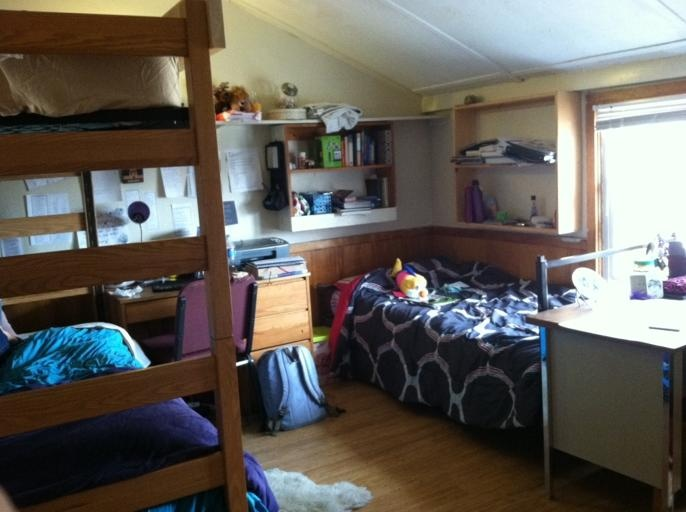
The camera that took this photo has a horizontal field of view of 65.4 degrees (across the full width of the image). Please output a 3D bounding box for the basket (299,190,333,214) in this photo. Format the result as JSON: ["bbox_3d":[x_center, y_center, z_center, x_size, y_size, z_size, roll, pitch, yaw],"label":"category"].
[{"bbox_3d":[-0.196,-0.416,4.260,0.282,0.165,0.178,-8,13,-15],"label":"basket"}]

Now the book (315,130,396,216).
[{"bbox_3d":[0.094,-0.675,4.359,0.696,0.663,0.224,-7,6,-34],"label":"book"}]

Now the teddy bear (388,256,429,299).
[{"bbox_3d":[0.511,0.193,4.131,0.191,0.194,0.420,-2,26,-26],"label":"teddy bear"}]

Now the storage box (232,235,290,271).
[{"bbox_3d":[-0.667,-0.039,3.954,0.331,0.167,0.241,-8,11,-32],"label":"storage box"}]

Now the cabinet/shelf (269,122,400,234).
[{"bbox_3d":[-0.102,-0.635,4.279,0.882,0.724,0.283,-7,8,-30],"label":"cabinet/shelf"}]

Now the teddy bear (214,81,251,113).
[{"bbox_3d":[-0.805,-1.130,3.870,0.244,0.151,0.272,-5,-12,-15],"label":"teddy bear"}]

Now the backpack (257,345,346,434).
[{"bbox_3d":[-0.299,0.917,3.603,0.454,0.425,0.232,-5,-22,-39],"label":"backpack"}]
